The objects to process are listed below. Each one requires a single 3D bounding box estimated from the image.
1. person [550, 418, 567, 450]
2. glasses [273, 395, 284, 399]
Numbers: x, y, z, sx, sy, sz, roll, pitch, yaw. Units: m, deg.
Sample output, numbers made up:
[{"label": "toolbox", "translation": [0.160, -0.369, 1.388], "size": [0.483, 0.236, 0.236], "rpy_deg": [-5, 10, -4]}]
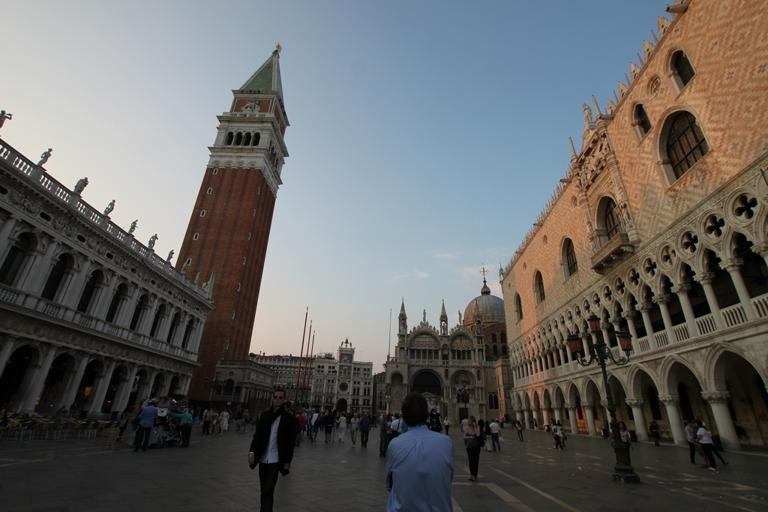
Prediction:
[{"label": "person", "translation": [10.050, 10.081, 21.135], "size": [0.595, 1.409, 1.969], "rpy_deg": [-8, -26, 21]}, {"label": "glasses", "translation": [-2.699, 3.497, 9.295], "size": [0.137, 0.092, 0.168], "rpy_deg": [3, -36, -7]}]
